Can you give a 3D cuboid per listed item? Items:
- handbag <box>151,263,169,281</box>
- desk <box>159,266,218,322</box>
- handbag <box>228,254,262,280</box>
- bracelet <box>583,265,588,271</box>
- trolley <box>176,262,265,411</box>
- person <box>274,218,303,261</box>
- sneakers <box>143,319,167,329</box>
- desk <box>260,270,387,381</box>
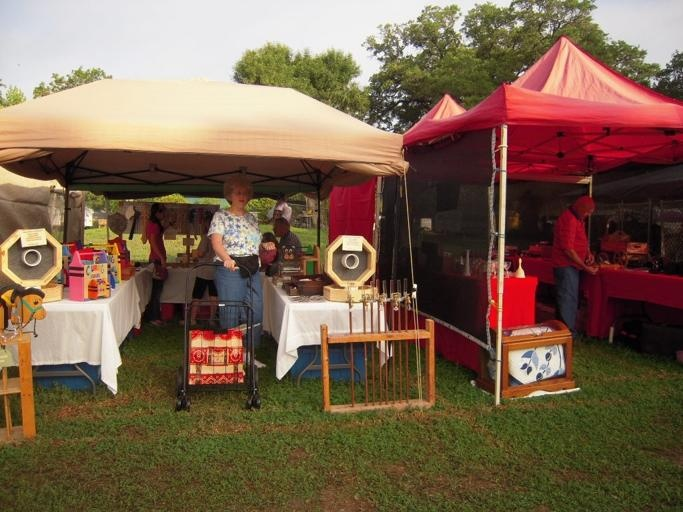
[{"bbox_3d":[-2.555,0.214,7.977,0.212,0.224,0.073,10,5,-16],"label":"handbag"},{"bbox_3d":[-2.174,0.444,7.941,0.936,0.544,0.969,-1,14,-11],"label":"desk"},{"bbox_3d":[-0.912,0.082,5.633,0.216,0.222,0.085,-16,-7,-43],"label":"handbag"},{"bbox_3d":[2.957,0.127,6.900,0.050,0.049,0.050,-28,32,-6],"label":"bracelet"},{"bbox_3d":[-1.217,0.716,5.658,0.825,1.441,1.029,0,-2,-9],"label":"trolley"},{"bbox_3d":[-0.694,-0.212,7.245,0.436,0.696,0.785,0,1,-2],"label":"person"},{"bbox_3d":[-2.720,0.972,8.215,0.384,0.163,0.146,1,-3,17],"label":"sneakers"},{"bbox_3d":[-0.145,0.708,5.711,1.031,0.543,1.899,-1,3,-13],"label":"desk"}]
